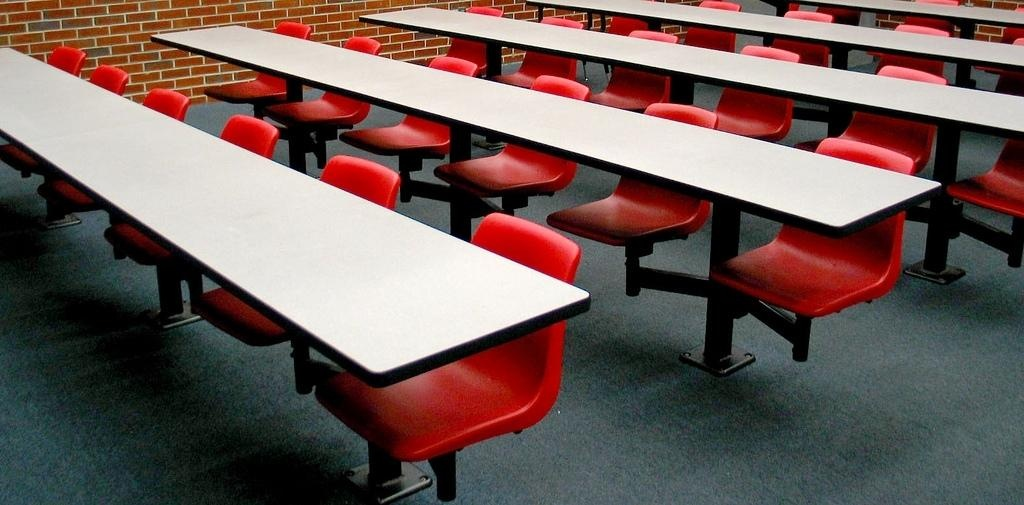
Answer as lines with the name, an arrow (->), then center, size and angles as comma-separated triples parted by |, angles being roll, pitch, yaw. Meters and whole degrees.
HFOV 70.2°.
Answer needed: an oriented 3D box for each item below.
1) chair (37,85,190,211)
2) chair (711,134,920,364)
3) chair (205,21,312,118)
chair -> -2.606, -0.676, 4.755 | 0.695, 0.790, 0.832 | 31, 34, 27
chair -> 1.854, -0.037, 4.507 | 1.164, 0.850, 0.833 | -28, 35, -28
chair -> -2.376, -1.685, 7.070 | 0.985, 0.876, 0.847 | -24, 37, -27
